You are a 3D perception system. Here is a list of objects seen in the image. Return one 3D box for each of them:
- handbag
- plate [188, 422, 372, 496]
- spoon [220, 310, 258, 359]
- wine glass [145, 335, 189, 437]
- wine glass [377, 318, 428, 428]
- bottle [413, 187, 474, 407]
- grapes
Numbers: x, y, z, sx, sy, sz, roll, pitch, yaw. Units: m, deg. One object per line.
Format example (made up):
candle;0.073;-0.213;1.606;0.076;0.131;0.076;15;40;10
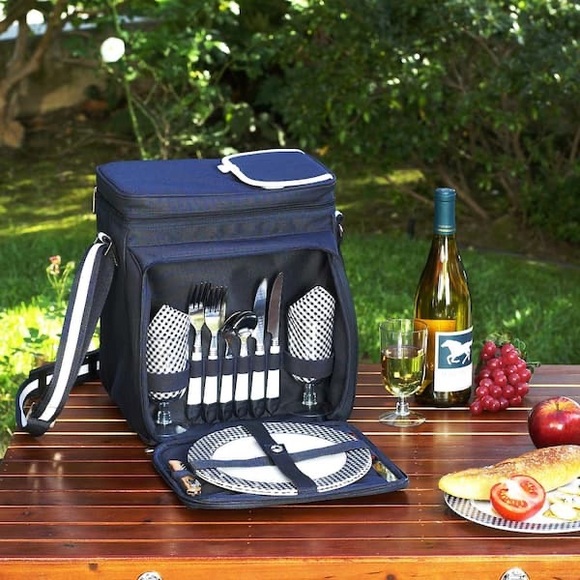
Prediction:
handbag;-0.114;0.061;1.241;0.625;0.592;0.499;-11;15;-25
plate;-0.017;0.266;1.099;0.288;0.036;0.235;2;10;37
spoon;-0.089;0.080;1.301;0.050;0.079;0.055;-10;17;-31
wine glass;-0.225;0.147;1.245;0.084;0.185;0.086;-1;1;14
wine glass;0.190;0.154;1.311;0.112;0.186;0.100;-1;12;-9
bottle;0.296;0.019;1.356;0.118;0.429;0.114;-3;16;1
grapes;0.415;0.171;1.389;0.120;0.156;0.102;-6;14;-16
